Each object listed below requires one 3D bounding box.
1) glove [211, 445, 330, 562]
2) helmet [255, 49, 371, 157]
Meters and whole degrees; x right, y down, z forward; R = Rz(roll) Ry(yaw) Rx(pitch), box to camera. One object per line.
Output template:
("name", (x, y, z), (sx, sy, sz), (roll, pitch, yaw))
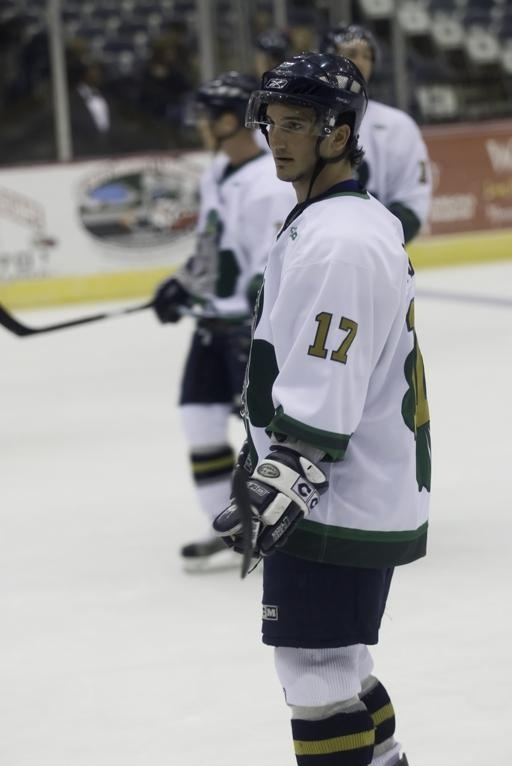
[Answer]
("glove", (0.020, 0.139, 1.105), (0.114, 0.074, 0.167), (30, 77, 30))
("helmet", (0.071, -0.402, 1.253), (0.138, 0.155, 0.186), (26, 29, 32))
